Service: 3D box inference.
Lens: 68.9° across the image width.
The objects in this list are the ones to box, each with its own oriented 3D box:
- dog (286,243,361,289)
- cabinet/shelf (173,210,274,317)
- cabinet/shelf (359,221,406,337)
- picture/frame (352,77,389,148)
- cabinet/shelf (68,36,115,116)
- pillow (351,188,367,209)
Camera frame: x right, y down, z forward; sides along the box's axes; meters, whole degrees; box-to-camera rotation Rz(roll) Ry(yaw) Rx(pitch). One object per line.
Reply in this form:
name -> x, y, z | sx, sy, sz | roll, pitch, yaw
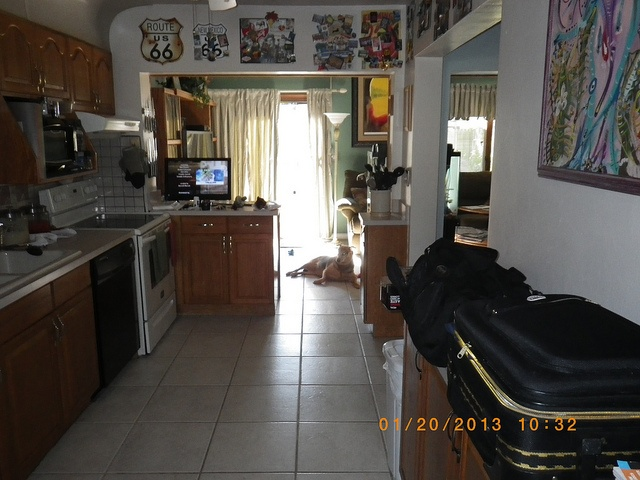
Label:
dog -> 0.077, 0.312, 5.836 | 0.452, 0.411, 0.813 | 5, -3, -39
cabinet/shelf -> -0.941, 0.223, 4.922 | 0.967, 1.072, 0.596 | 0, 5, -7
cabinet/shelf -> 0.652, -0.017, 4.867 | 0.384, 1.127, 1.166 | -1, 33, 4
picture/frame -> 0.822, -2.094, 7.676 | 0.598, 1.099, 0.260 | -2, 13, -8
cabinet/shelf -> -2.088, -1.404, 4.114 | 0.229, 0.576, 0.626 | 2, 11, 7
pillow -> 0.631, -0.661, 7.238 | 0.093, 0.319, 0.325 | -15, -10, -9
